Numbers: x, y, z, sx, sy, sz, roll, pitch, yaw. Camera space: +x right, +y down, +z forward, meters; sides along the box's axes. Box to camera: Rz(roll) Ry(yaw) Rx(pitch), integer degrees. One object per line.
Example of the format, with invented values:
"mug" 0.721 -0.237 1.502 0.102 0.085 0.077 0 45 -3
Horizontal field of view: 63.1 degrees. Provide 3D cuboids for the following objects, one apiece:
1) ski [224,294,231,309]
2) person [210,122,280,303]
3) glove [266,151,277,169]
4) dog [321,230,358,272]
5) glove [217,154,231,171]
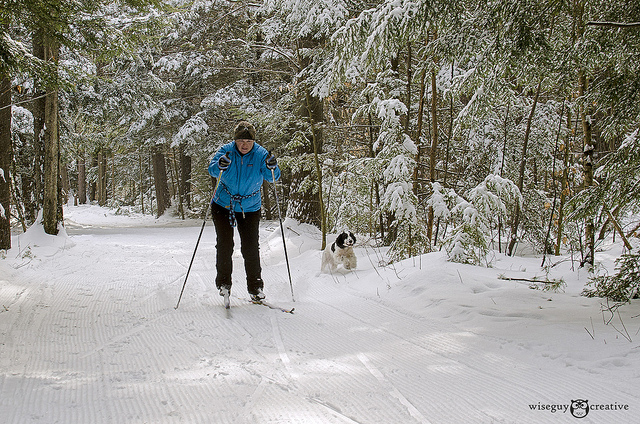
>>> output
"ski" -1.515 1.448 8.464 0.087 0.237 0.082 -4 12 -11
"person" -1.262 0.027 8.706 1.074 2.997 0.823 -5 12 -16
"glove" -0.781 -0.860 8.615 0.080 0.238 0.162 -16 15 -16
"dog" 0.354 0.913 11.098 0.500 0.779 1.880 2 -10 -17
"glove" -1.538 -0.799 8.371 0.206 0.205 0.115 -11 15 -39
